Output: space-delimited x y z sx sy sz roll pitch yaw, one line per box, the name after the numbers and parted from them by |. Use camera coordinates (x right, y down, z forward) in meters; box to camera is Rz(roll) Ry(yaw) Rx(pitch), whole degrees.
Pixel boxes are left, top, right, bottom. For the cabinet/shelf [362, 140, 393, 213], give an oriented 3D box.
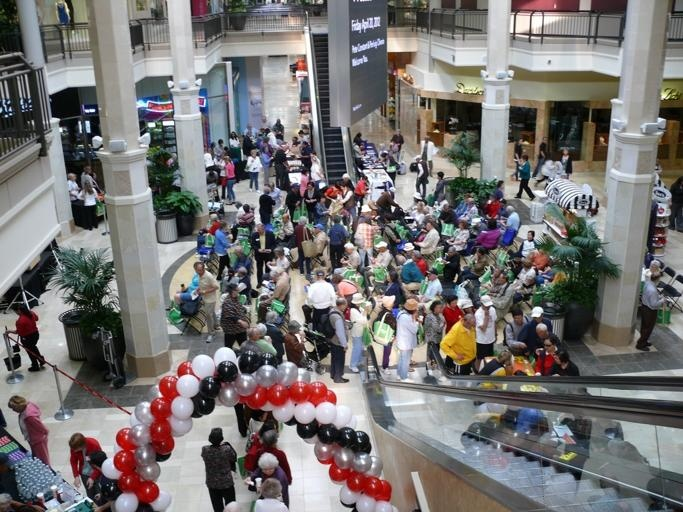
1.415 -3.334 19.145 0.936 0.918 3.469 -7 37 1 | cabinet/shelf

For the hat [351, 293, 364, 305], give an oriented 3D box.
0.310 0.853 9.105 0.202 0.101 0.194 -14 24 9 | hat

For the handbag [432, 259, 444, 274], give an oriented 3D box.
2.350 0.272 11.474 0.176 0.307 0.306 -42 -8 -9 | handbag

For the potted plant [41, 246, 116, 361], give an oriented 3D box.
-5.115 1.013 9.524 1.379 2.137 1.412 -1 -8 -7 | potted plant

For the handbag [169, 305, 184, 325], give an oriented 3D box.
-3.688 1.335 10.746 0.384 0.390 0.170 2 23 19 | handbag

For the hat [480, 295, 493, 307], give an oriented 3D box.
2.631 0.847 8.642 0.173 0.126 0.243 -5 19 -5 | hat

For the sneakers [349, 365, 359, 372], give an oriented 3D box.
0.244 2.251 9.385 0.087 0.081 0.202 -18 24 -33 | sneakers

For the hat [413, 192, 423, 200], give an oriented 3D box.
2.463 -1.894 15.420 0.426 0.153 0.459 1 20 -7 | hat

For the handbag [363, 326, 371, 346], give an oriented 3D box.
0.467 1.506 8.866 0.109 0.309 0.309 -6 22 -9 | handbag

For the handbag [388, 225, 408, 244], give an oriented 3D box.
1.559 -0.567 13.267 0.221 0.372 0.387 -29 21 16 | handbag

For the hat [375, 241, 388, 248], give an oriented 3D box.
0.996 -0.245 11.574 0.179 0.082 0.254 21 7 21 | hat

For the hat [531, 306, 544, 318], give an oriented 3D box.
3.630 1.080 8.802 0.253 0.203 0.401 -6 7 26 | hat

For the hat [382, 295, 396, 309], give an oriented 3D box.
0.906 0.877 8.917 0.065 0.224 0.222 34 -5 -36 | hat

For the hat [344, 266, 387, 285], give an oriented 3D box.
0.593 0.519 11.299 0.725 0.281 0.562 -3 24 -5 | hat

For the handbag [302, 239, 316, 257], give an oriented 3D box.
-0.882 -0.200 12.721 0.402 0.527 0.220 -1 29 7 | handbag

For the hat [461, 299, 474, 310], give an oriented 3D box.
2.363 0.928 8.987 0.161 0.113 0.219 -5 3 -6 | hat

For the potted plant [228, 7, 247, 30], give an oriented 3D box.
-5.479 -12.187 25.051 1.007 0.887 0.702 -6 20 -11 | potted plant

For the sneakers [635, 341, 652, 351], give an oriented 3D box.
6.300 1.884 9.873 0.232 0.163 0.084 -15 40 -8 | sneakers

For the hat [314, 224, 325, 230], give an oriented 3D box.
-0.631 -0.750 13.438 0.237 0.122 0.170 26 13 1 | hat
